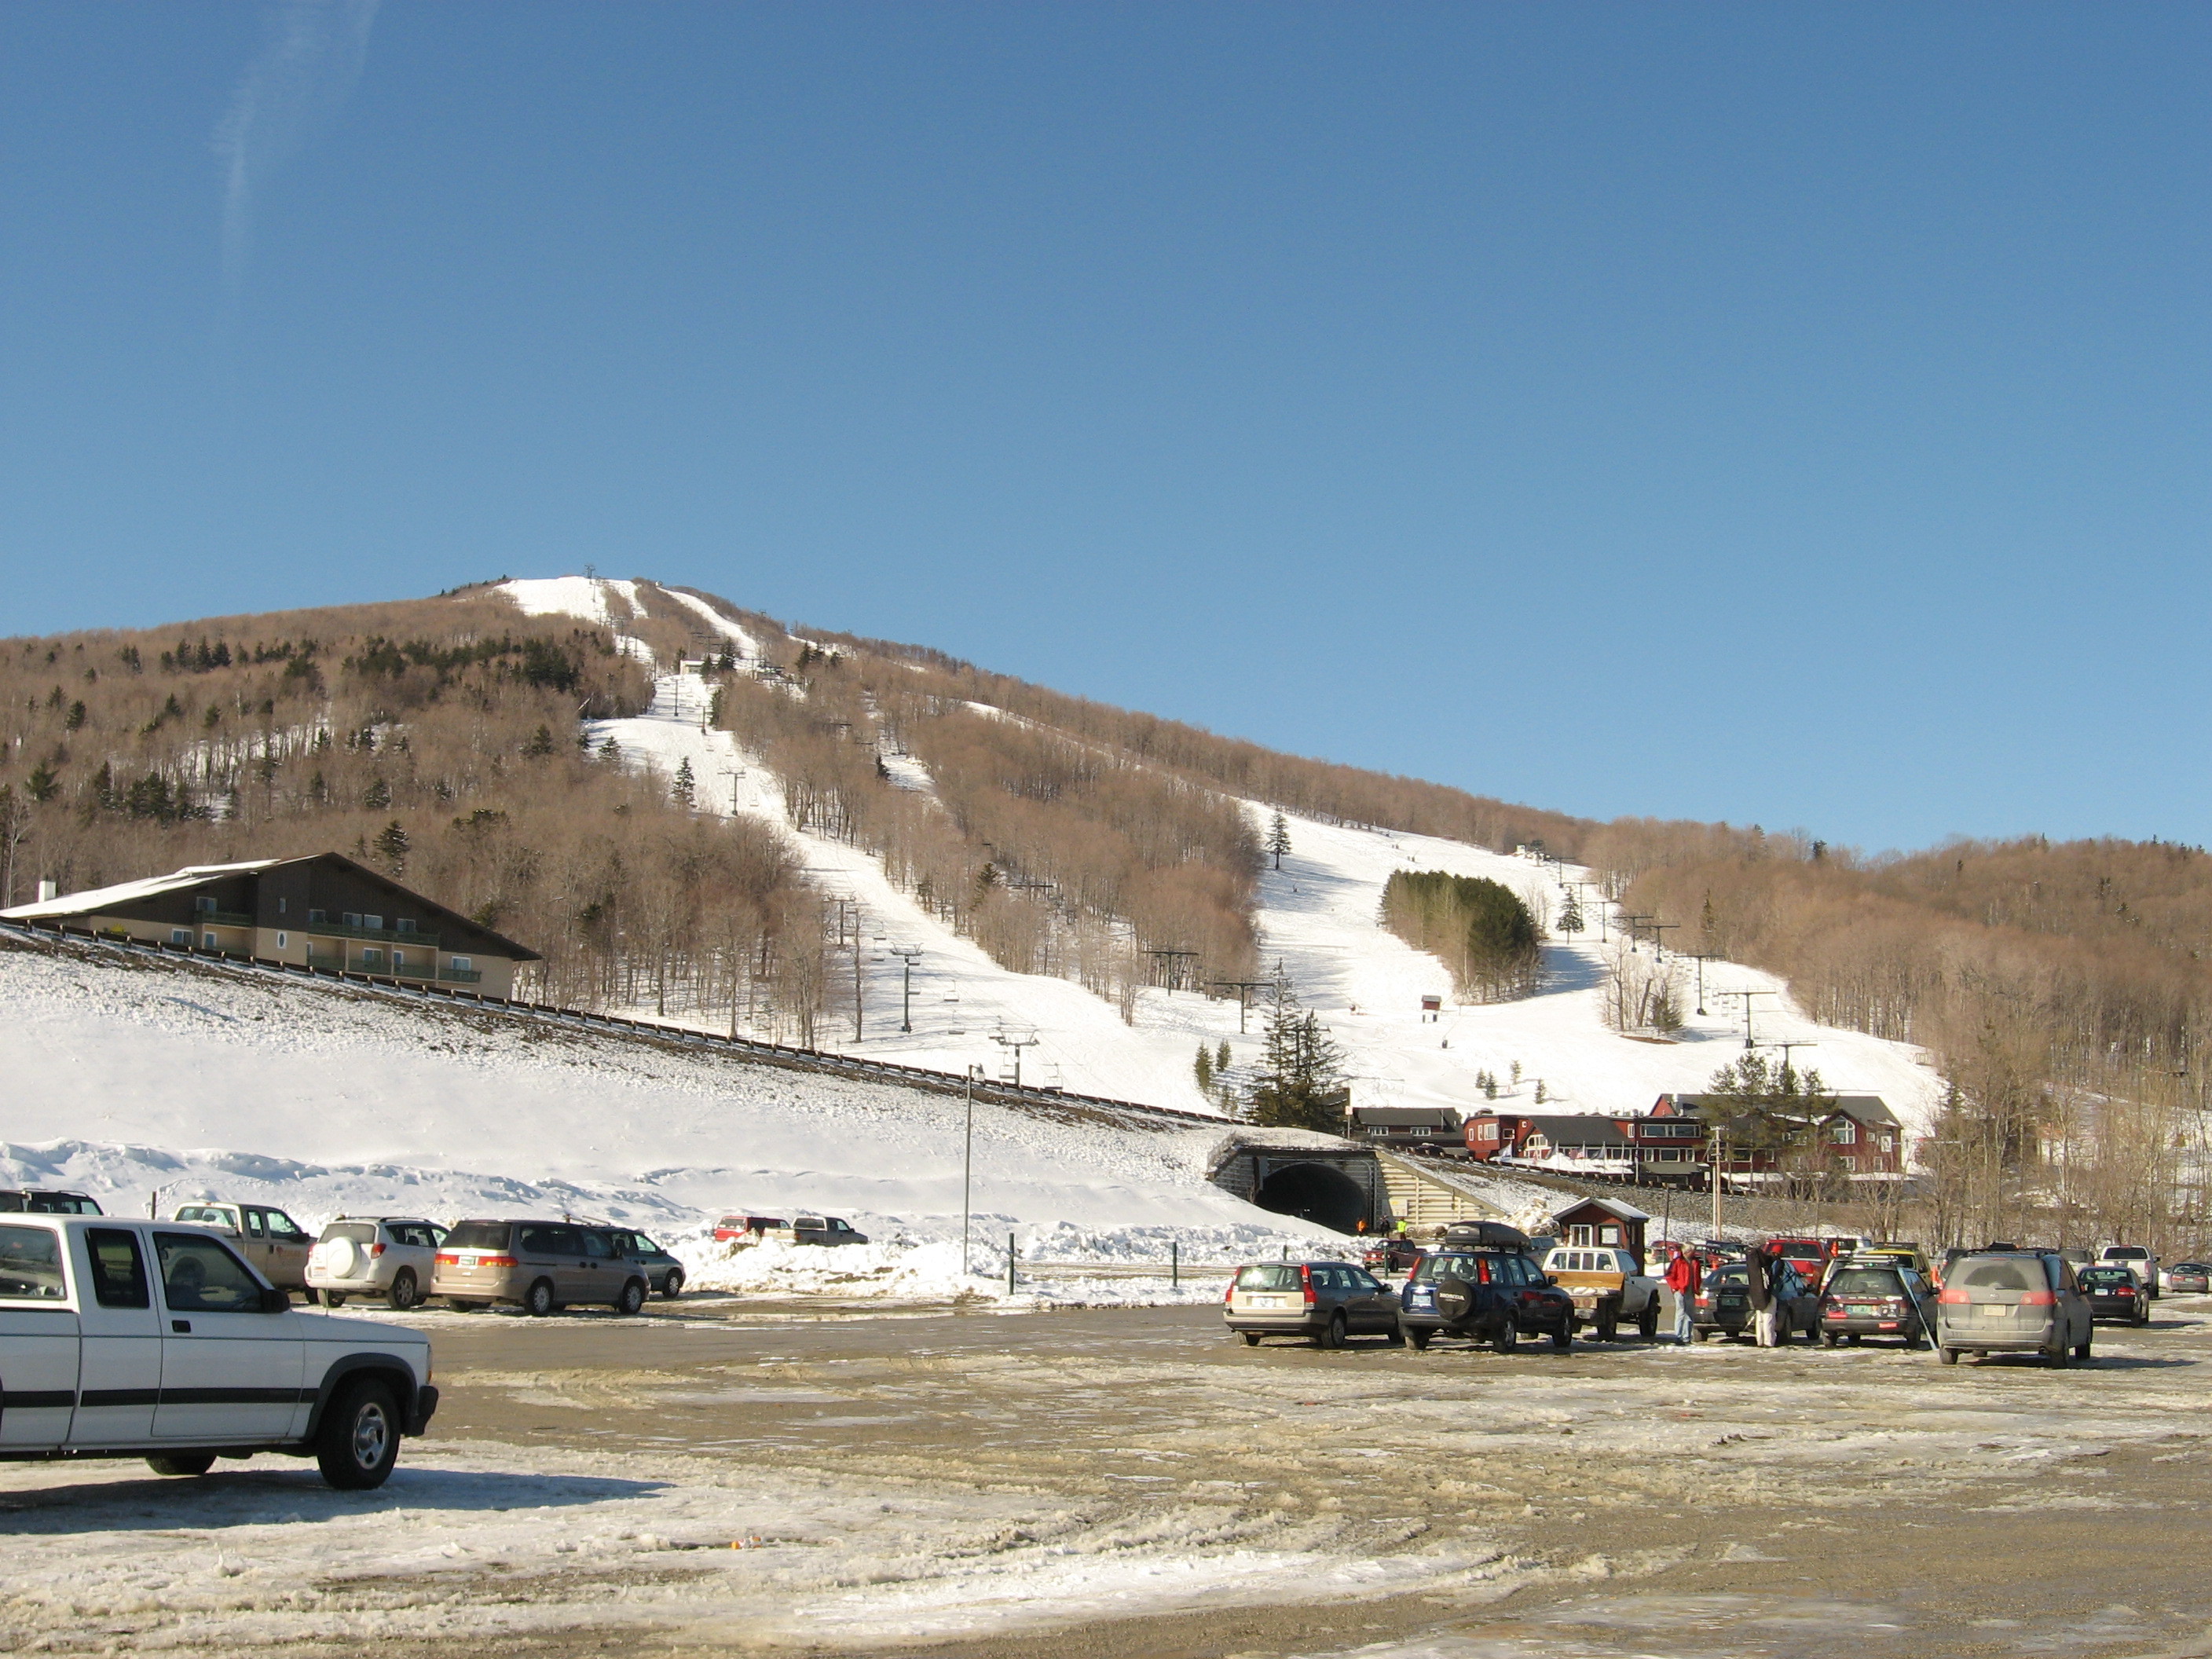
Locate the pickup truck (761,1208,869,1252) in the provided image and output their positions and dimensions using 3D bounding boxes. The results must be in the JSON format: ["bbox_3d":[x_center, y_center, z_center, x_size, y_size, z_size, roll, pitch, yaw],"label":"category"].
[{"bbox_3d":[-9.242,12.387,111.194,2.468,0.986,1.378,-2,-1,-2],"label":"pickup truck"}]

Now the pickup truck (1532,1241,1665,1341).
[{"bbox_3d":[13.015,11.998,93.872,1.743,1.573,3.500,-1,-1,28],"label":"pickup truck"}]
